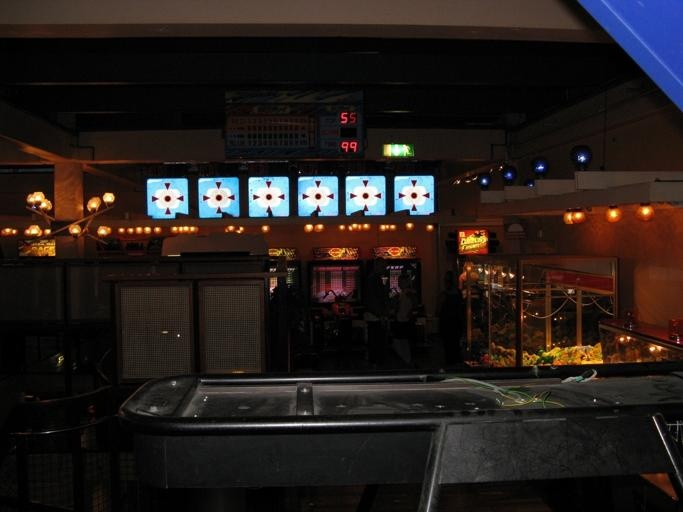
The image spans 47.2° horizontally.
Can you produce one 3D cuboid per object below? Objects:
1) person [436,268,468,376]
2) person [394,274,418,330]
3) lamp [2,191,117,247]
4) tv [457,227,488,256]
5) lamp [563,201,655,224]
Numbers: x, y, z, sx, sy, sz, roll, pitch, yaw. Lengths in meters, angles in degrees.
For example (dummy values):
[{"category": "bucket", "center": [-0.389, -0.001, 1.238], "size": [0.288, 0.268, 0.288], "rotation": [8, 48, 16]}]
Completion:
[{"category": "person", "center": [1.578, 0.890, 11.099], "size": [0.376, 1.370, 0.802], "rotation": [-2, -3, 9]}, {"category": "person", "center": [0.887, 0.658, 10.897], "size": [0.288, 0.794, 0.538], "rotation": [-2, -3, 3]}, {"category": "lamp", "center": [-5.028, -0.654, 13.931], "size": [1.487, 0.588, 1.255], "rotation": [2, 2, 5]}, {"category": "tv", "center": [2.121, -0.217, 12.616], "size": [0.455, 0.360, 0.142], "rotation": [0, -2, 0]}, {"category": "lamp", "center": [2.831, -0.417, 8.433], "size": [0.799, 0.182, 2.166], "rotation": [-2, -3, 16]}]
